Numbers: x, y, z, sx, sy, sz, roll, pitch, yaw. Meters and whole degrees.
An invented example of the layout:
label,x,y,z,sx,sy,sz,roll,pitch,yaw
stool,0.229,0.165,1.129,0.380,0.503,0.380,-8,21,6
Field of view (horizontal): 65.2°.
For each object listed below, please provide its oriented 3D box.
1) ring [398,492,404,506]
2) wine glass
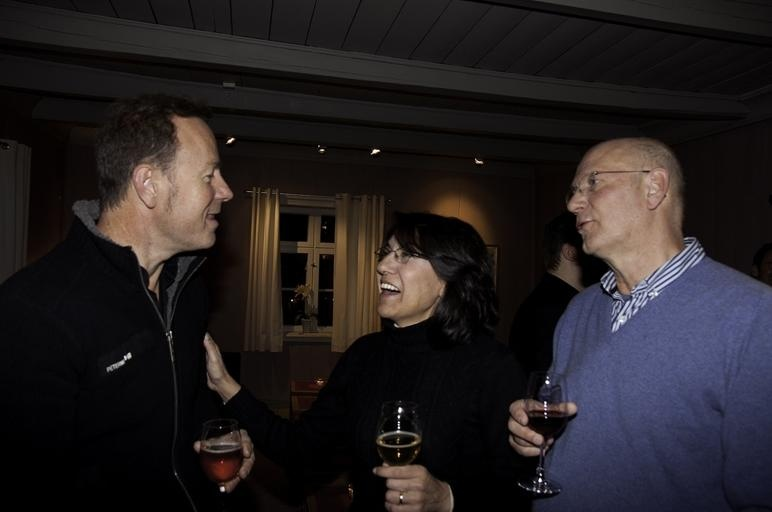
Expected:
label,x,y,z,sx,sy,sz,roll,pitch,yaw
ring,0.072,1.121,2.763,0.018,0.051,0.008,1,-2,0
wine glass,0.753,0.884,2.904,0.221,0.651,0.331,0,-2,13
